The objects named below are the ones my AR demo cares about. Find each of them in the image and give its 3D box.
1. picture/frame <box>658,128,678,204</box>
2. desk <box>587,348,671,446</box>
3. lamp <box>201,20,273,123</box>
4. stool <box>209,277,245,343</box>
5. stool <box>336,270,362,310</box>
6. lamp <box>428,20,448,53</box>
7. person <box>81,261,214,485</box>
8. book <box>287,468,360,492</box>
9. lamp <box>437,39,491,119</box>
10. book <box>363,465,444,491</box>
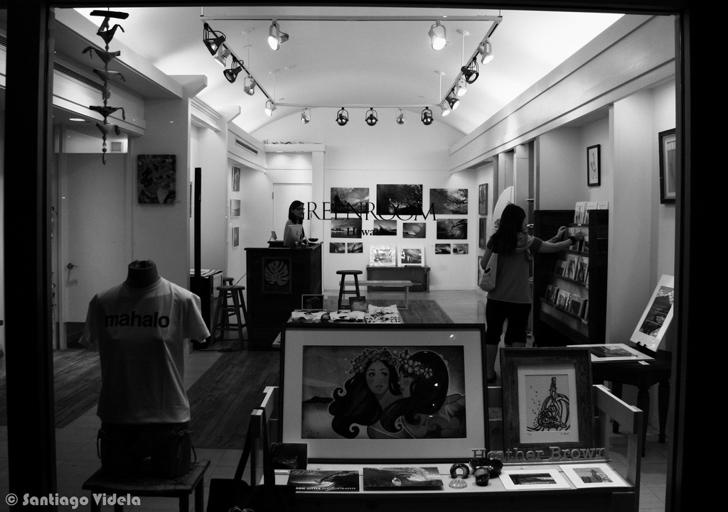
[{"bbox_3d":[2.885,-0.833,5.245,0.116,0.685,0.205,2,4,8],"label":"picture/frame"},{"bbox_3d":[2.298,1.258,5.094,0.858,0.820,0.864,0,3,6],"label":"desk"},{"bbox_3d":[-1.842,-2.528,7.591,0.399,0.381,2.254,-15,7,-6],"label":"lamp"},{"bbox_3d":[-2.244,0.875,9.361,0.529,0.961,1.942,0,5,-13],"label":"stool"},{"bbox_3d":[-0.289,0.793,11.826,0.741,0.883,0.698,4,-11,-19],"label":"stool"},{"bbox_3d":[0.870,-2.560,6.449,0.176,0.362,0.424,2,5,6],"label":"lamp"},{"bbox_3d":[-1.442,0.706,3.647,0.793,1.315,0.520,1,4,-10],"label":"person"},{"bbox_3d":[-0.199,1.133,2.820,0.360,0.070,0.199,0,5,-13],"label":"book"},{"bbox_3d":[1.778,-3.097,9.704,0.281,0.520,1.876,13,-32,-4],"label":"lamp"},{"bbox_3d":[0.204,1.131,2.846,0.405,0.074,0.115,1,5,-1],"label":"book"}]
